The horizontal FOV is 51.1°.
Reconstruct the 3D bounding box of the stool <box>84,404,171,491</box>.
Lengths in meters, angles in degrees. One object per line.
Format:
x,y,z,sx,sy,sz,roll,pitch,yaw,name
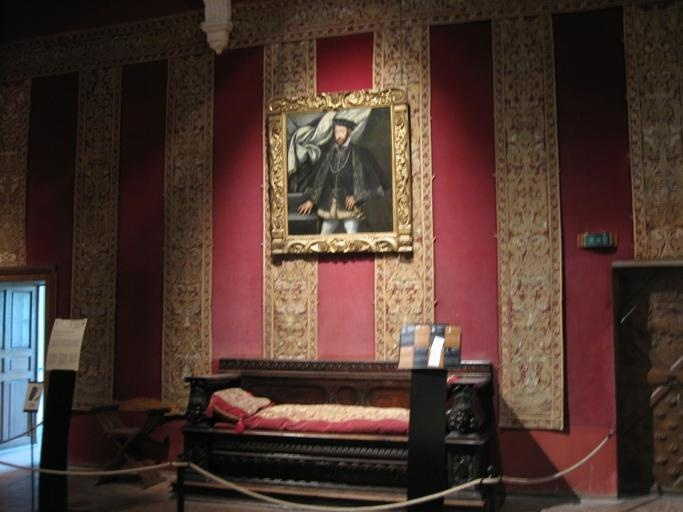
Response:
-2.671,2.361,9.103,0.993,1.041,0.680,0,0,27,stool

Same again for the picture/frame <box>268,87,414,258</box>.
0.067,-0.989,8.999,1.771,2.281,0.166,-2,-6,14,picture/frame
